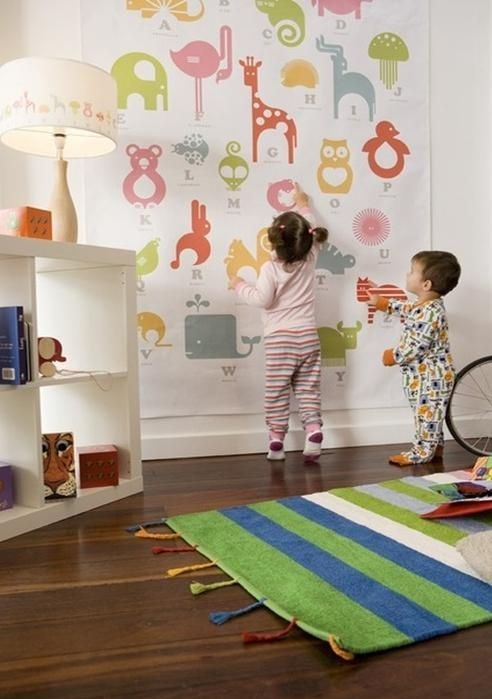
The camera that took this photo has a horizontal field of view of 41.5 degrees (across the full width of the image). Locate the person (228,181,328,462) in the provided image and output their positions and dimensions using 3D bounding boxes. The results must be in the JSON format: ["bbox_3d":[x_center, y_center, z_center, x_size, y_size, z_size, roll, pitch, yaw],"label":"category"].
[{"bbox_3d":[0.152,-0.108,2.357,0.342,1.002,0.271,-3,5,-22],"label":"person"}]

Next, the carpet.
[{"bbox_3d":[0.234,0.434,1.433,0.820,0.030,0.804,-2,4,-15],"label":"carpet"}]

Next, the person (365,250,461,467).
[{"bbox_3d":[0.628,0.014,2.429,0.298,0.760,0.448,-1,5,-6],"label":"person"}]
